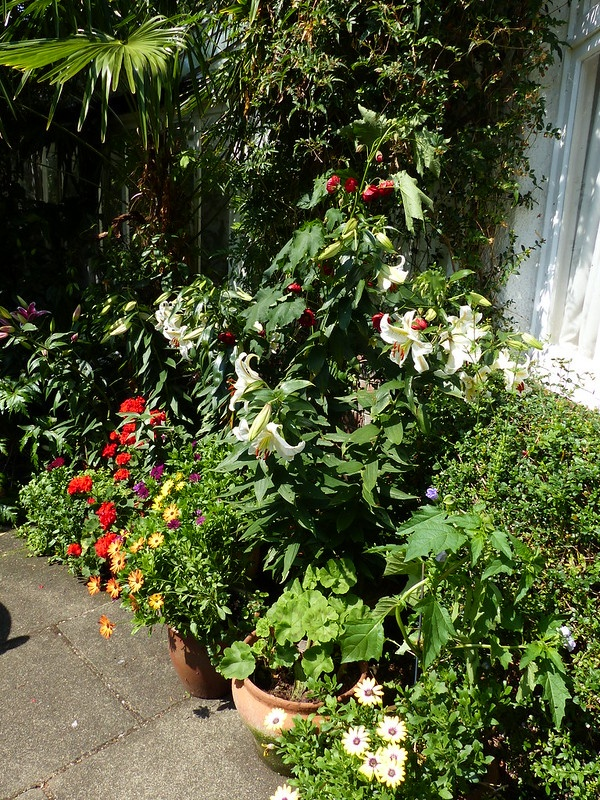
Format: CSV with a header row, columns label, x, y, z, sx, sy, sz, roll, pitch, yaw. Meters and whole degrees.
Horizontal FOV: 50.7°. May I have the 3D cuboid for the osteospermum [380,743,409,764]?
label,x,y,z,sx,sy,sz,roll,pitch,yaw
osteospermum,0.195,0.737,1.318,0.052,0.040,0.044,-1,14,8

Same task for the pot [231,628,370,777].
label,x,y,z,sx,sy,sz,roll,pitch,yaw
pot,0.001,0.828,1.748,0.363,0.261,0.363,-5,9,1

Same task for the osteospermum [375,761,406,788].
label,x,y,z,sx,sy,sz,roll,pitch,yaw
osteospermum,0.183,0.777,1.293,0.059,0.068,0.041,-2,14,5

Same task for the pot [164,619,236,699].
label,x,y,z,sx,sy,sz,roll,pitch,yaw
pot,-0.324,0.821,2.069,0.232,0.207,0.235,0,3,0

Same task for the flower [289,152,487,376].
label,x,y,z,sx,sy,sz,roll,pitch,yaw
flower,0.222,-0.423,1.881,0.524,0.625,0.824,-3,14,-1

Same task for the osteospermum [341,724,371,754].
label,x,y,z,sx,sy,sz,roll,pitch,yaw
osteospermum,0.122,0.739,1.361,0.061,0.049,0.055,-4,14,-6

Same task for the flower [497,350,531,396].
label,x,y,z,sx,sy,sz,roll,pitch,yaw
flower,0.589,-0.077,1.743,0.084,0.122,0.190,6,16,32
